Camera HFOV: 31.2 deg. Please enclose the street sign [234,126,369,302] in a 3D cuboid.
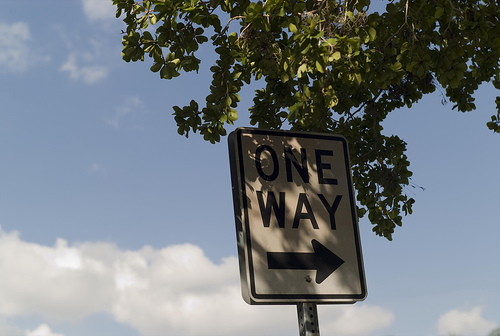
[{"bbox_3d":[0.581,0.656,11.355,1.789,2.801,0.274,4,-19,-21],"label":"street sign"}]
